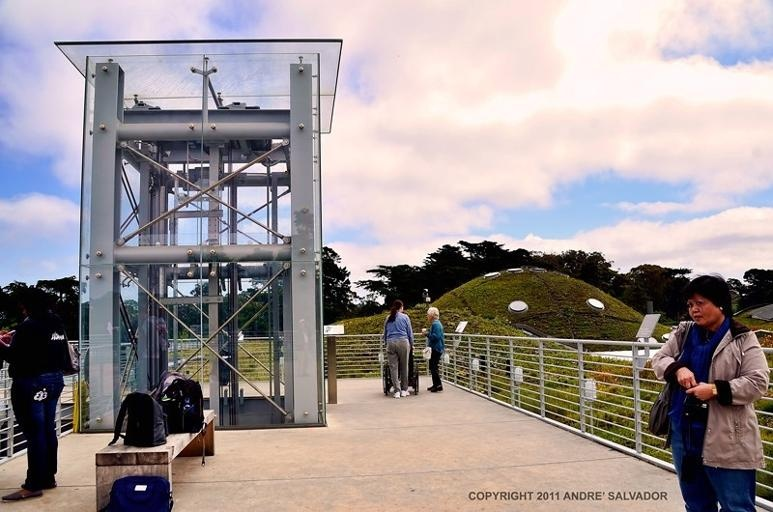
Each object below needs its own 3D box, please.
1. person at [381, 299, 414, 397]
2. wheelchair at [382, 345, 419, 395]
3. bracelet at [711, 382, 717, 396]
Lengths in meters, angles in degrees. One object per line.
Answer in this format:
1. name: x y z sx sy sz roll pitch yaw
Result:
1. person: 0.267 2.025 13.959 0.620 2.113 0.886 -4 -7 0
2. wheelchair: 0.373 2.644 14.801 0.671 1.054 1.221 2 19 -2
3. bracelet: 3.033 1.230 5.887 0.044 0.096 0.013 -6 -7 23
